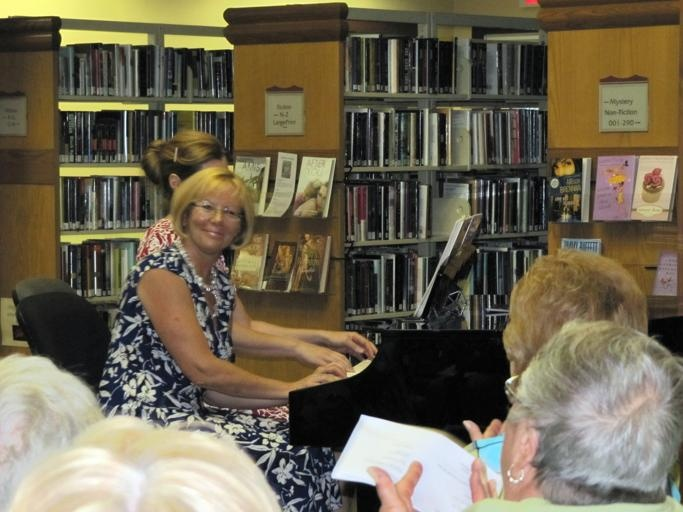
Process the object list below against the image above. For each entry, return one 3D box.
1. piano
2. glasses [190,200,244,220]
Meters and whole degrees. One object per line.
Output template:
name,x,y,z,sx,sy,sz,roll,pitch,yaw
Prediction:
piano,0.251,0.549,2.667,0.530,0.530,0.548,1,-6,3
glasses,-0.491,-0.179,2.964,0.101,0.030,0.100,16,-16,-27
